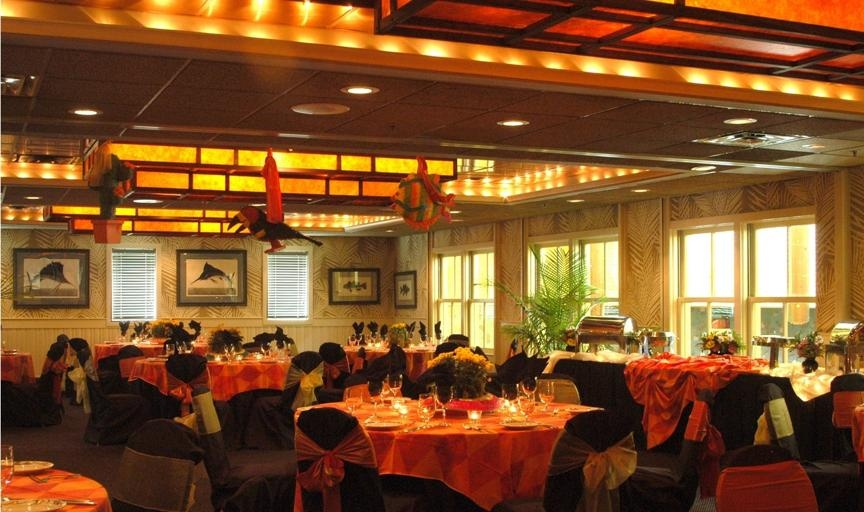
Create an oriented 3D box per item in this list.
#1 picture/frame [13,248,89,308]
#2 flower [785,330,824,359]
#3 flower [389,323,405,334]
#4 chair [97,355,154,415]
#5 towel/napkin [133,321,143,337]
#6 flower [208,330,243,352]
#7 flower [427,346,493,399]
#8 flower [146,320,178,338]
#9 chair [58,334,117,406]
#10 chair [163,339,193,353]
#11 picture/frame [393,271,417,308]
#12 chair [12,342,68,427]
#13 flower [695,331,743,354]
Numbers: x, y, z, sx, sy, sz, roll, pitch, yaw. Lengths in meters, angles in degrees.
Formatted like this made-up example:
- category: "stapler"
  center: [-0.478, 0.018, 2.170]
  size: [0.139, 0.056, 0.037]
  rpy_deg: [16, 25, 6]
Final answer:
- category: "picture/frame"
  center: [-8.852, 0.526, 16.048]
  size: [1.614, 1.268, 0.146]
  rpy_deg: [0, 1, -26]
- category: "flower"
  center: [4.003, 0.964, 7.487]
  size: [0.342, 0.202, 0.322]
  rpy_deg: [4, -13, -20]
- category: "flower"
  center: [-0.650, 1.335, 12.936]
  size: [0.246, 0.121, 0.240]
  rpy_deg: [12, -18, -44]
- category: "chair"
  center: [-4.617, 1.994, 10.566]
  size: [0.815, 1.010, 0.808]
  rpy_deg: [-1, -2, -7]
- category: "towel/napkin"
  center: [-6.315, 1.591, 15.051]
  size: [0.178, 0.300, 0.506]
  rpy_deg: [3, -8, -22]
- category: "flower"
  center: [-2.912, 1.209, 9.865]
  size: [0.449, 0.335, 0.187]
  rpy_deg: [2, -7, -16]
- category: "flower"
  center: [0.290, 1.055, 6.235]
  size: [0.500, 0.409, 0.577]
  rpy_deg: [-4, -11, 28]
- category: "flower"
  center: [-5.053, 1.381, 13.066]
  size: [0.499, 0.234, 0.457]
  rpy_deg: [2, -13, -10]
- category: "chair"
  center: [-5.780, 1.968, 11.659]
  size: [0.709, 1.023, 1.630]
  rpy_deg: [0, -3, -23]
- category: "chair"
  center: [-3.794, 1.360, 10.374]
  size: [0.369, 0.252, 0.390]
  rpy_deg: [0, -10, 4]
- category: "picture/frame"
  center: [-0.667, 0.885, 18.174]
  size: [0.082, 0.977, 1.074]
  rpy_deg: [2, -4, -35]
- category: "chair"
  center: [-6.351, 2.158, 11.531]
  size: [0.917, 1.335, 0.651]
  rpy_deg: [-3, -8, 28]
- category: "flower"
  center: [3.641, 1.099, 8.798]
  size: [0.439, 0.299, 0.408]
  rpy_deg: [0, -7, 0]
